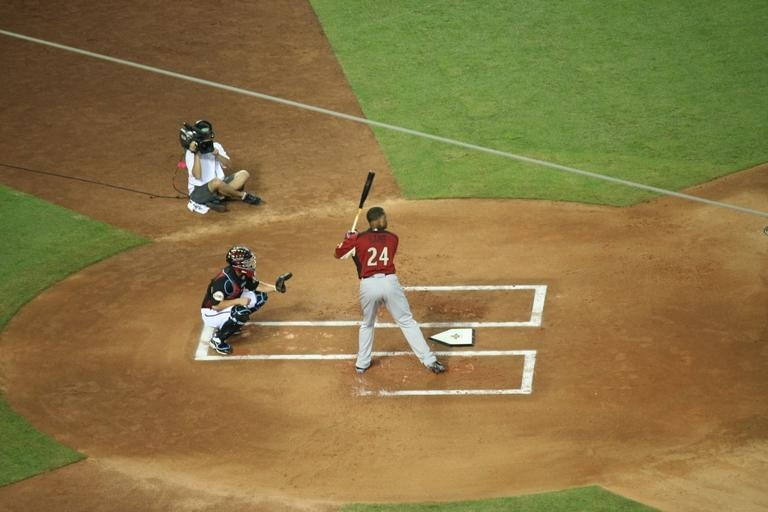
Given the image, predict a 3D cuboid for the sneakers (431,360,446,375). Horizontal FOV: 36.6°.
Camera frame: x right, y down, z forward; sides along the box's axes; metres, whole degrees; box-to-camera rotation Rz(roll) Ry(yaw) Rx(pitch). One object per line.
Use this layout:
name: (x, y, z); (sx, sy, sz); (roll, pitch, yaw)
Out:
sneakers: (1.147, 2.327, 24.275); (0.355, 0.107, 0.255); (12, 30, 4)

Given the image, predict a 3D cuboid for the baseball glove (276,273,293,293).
baseball glove: (-2.150, 0.515, 24.799); (0.246, 0.240, 0.652); (11, 24, 10)
